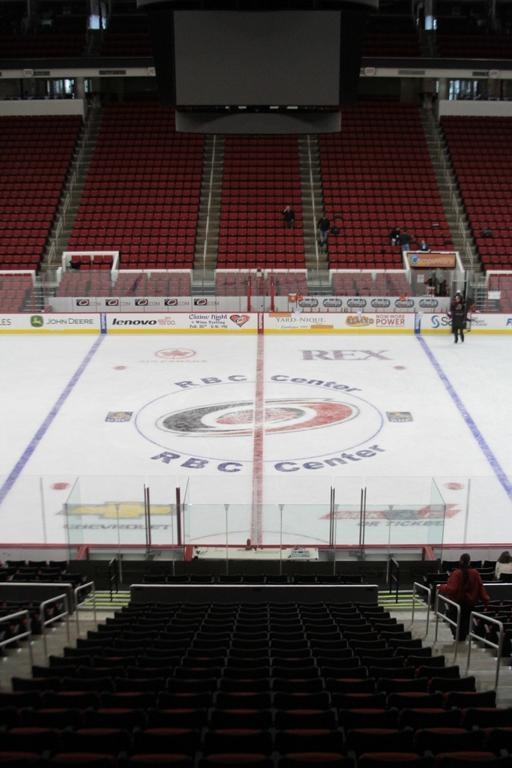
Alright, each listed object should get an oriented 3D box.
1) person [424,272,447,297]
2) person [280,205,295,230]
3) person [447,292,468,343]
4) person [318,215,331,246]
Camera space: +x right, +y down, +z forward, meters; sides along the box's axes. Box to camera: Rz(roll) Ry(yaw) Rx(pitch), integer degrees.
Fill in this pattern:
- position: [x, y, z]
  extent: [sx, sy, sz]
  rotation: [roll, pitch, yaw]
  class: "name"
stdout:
- position: [7.277, -4.003, 28.392]
  extent: [0.972, 0.972, 0.324]
  rotation: [0, 1, -12]
  class: "person"
- position: [1.559, -7.923, 33.544]
  extent: [0.581, 1.158, 1.182]
  rotation: [0, 1, 2]
  class: "person"
- position: [7.477, -2.442, 26.064]
  extent: [0.549, 1.924, 1.465]
  rotation: [0, 1, 15]
  class: "person"
- position: [3.224, -7.150, 33.073]
  extent: [0.570, 1.509, 1.520]
  rotation: [0, 1, 5]
  class: "person"
